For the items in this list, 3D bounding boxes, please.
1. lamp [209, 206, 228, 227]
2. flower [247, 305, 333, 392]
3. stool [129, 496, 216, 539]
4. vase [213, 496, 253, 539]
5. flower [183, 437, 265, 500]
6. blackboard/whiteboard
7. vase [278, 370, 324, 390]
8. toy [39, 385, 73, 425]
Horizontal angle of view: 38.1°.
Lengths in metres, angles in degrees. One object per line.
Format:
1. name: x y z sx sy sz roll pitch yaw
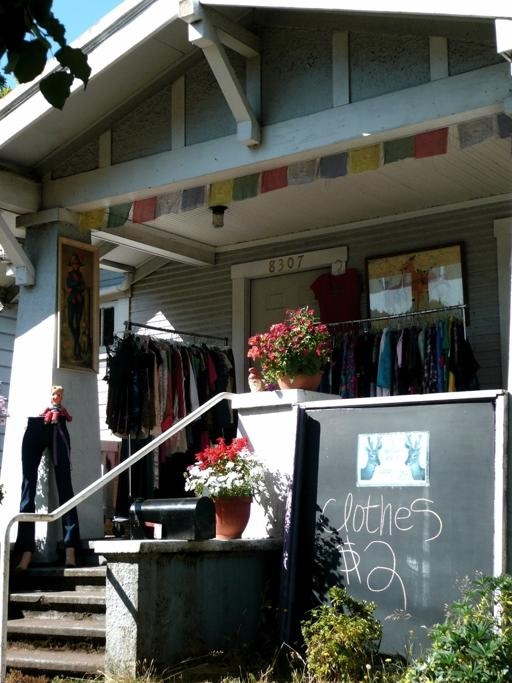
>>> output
1. lamp: -0.389 -1.271 7.565 0.180 0.227 0.185 -1 8 -17
2. flower: 0.218 0.049 4.906 0.537 0.594 0.391 -1 -9 4
3. stool: -0.448 0.964 4.008 0.415 0.223 0.214 -3 -9 17
4. vase: -0.146 1.049 4.520 0.247 0.209 0.260 -1 -8 14
5. flower: -0.195 0.790 4.582 0.358 0.396 0.414 -5 2 -29
6. blackboard/whiteboard: 0.742 0.955 3.634 1.057 1.373 0.092 -16 -30 35
7. vase: 0.276 0.271 4.820 0.286 0.133 0.351 -1 -9 3
8. toy: -1.663 0.544 6.197 0.210 0.313 0.459 -1 -9 1
